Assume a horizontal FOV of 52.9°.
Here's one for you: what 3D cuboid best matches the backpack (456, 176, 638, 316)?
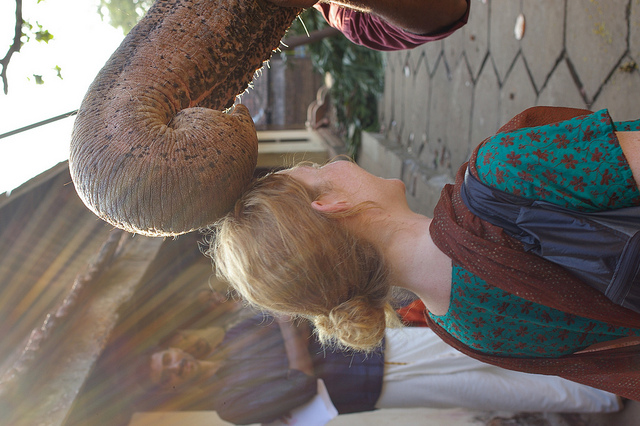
[{"bbox_3d":[0.555,0.063,1.621,0.387,0.257,0.143,11,4,8],"label":"backpack"}]

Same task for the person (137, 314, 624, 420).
[{"bbox_3d":[0.201,0.648,2.776,1.670,0.391,0.792,0,-14,3],"label":"person"}]
